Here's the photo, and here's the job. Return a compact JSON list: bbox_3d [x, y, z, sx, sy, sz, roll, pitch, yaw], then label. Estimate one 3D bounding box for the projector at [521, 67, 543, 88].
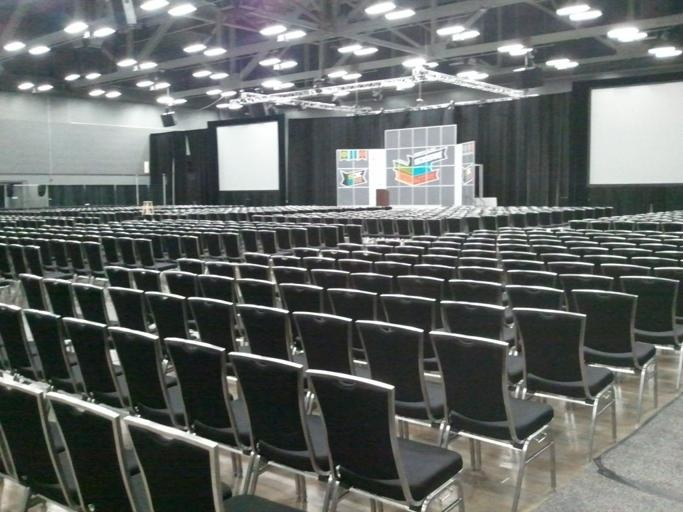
[{"bbox_3d":[5.484,-5.084,15.805,0.633,0.437,0.604,-14,13,-20],"label":"projector"}]
